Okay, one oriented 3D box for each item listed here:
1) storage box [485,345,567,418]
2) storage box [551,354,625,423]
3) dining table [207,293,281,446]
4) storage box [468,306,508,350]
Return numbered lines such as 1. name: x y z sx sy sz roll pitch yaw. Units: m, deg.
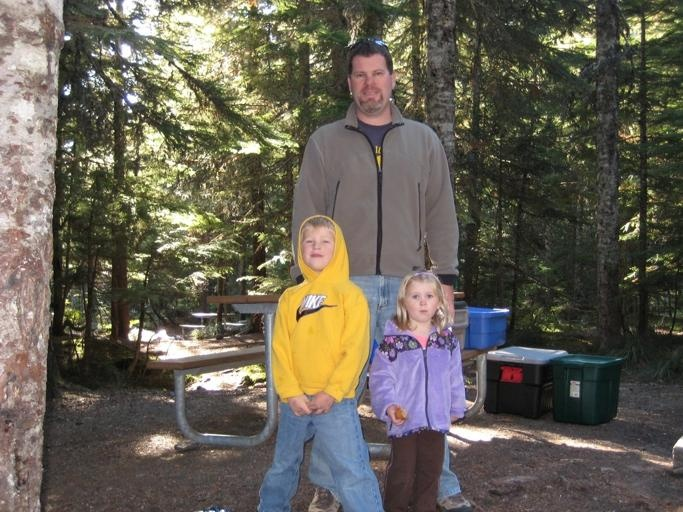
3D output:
1. storage box: 2.473 1.680 9.296 0.867 0.866 1.166 3 -1 25
2. storage box: 3.223 1.720 8.904 0.925 0.780 0.771 2 -2 -41
3. dining table: -1.387 1.596 9.557 1.086 1.584 1.632 -1 -3 25
4. storage box: 1.859 0.923 8.571 0.468 0.410 0.608 0 -5 -10
